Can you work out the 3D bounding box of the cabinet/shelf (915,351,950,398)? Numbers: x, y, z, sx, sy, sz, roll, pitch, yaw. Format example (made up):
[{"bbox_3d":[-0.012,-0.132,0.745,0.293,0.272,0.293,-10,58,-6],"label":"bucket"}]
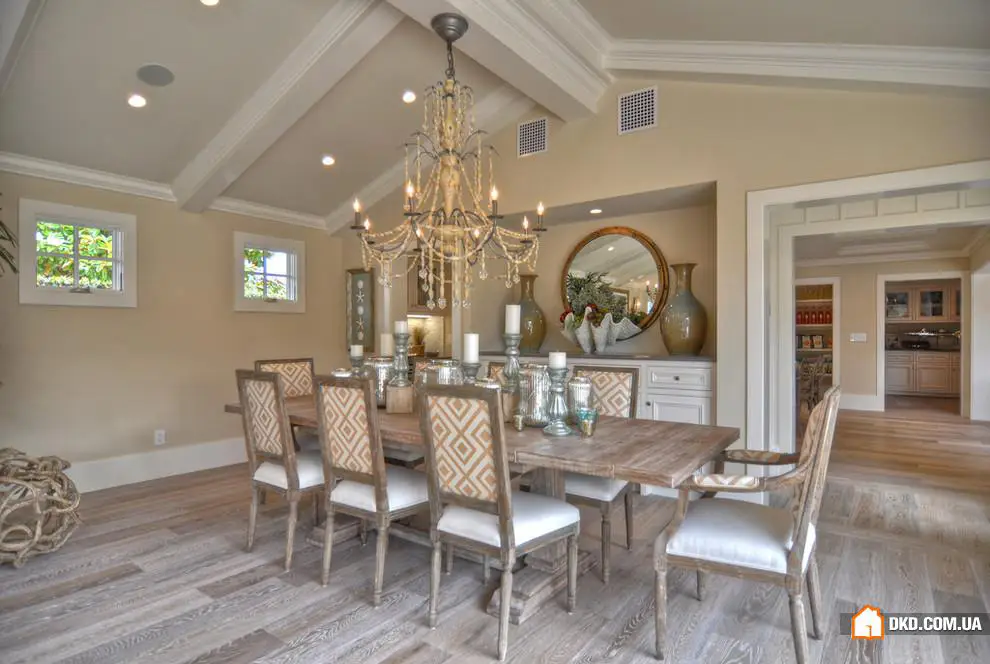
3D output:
[{"bbox_3d":[7.965,0.728,10.894,0.563,0.815,0.585,-7,4,-33],"label":"cabinet/shelf"}]

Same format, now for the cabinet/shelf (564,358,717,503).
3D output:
[{"bbox_3d":[1.569,0.864,5.735,0.492,1.248,1.341,-6,3,-43],"label":"cabinet/shelf"}]

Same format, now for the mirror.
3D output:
[{"bbox_3d":[1.260,-0.494,6.175,1.247,1.238,0.050,2,-3,30],"label":"mirror"}]

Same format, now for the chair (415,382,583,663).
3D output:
[{"bbox_3d":[0.036,1.040,3.608,0.934,1.490,0.488,-2,14,-8],"label":"chair"}]

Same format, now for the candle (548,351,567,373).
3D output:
[{"bbox_3d":[0.418,0.204,4.010,0.130,0.144,0.128,1,2,-2],"label":"candle"}]

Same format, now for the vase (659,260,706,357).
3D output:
[{"bbox_3d":[1.711,-0.211,5.565,0.339,0.822,0.403,-7,15,-23],"label":"vase"}]

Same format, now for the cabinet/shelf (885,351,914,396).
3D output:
[{"bbox_3d":[7.509,0.818,11.195,0.589,0.779,0.628,5,-12,27],"label":"cabinet/shelf"}]

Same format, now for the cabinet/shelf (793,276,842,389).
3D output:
[{"bbox_3d":[5.275,-0.105,9.880,0.785,1.687,1.311,6,15,25],"label":"cabinet/shelf"}]

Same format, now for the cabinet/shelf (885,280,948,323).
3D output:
[{"bbox_3d":[7.590,-0.574,10.820,0.740,0.607,0.269,-2,-3,37],"label":"cabinet/shelf"}]

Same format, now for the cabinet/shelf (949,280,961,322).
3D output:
[{"bbox_3d":[8.049,-0.546,10.619,0.167,0.705,0.189,2,14,10],"label":"cabinet/shelf"}]

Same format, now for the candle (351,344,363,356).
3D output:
[{"bbox_3d":[-1.108,0.149,4.828,0.149,0.108,0.146,0,0,-10],"label":"candle"}]

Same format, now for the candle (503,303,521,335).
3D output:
[{"bbox_3d":[0.114,-0.078,4.064,0.078,0.183,0.109,-2,14,-7],"label":"candle"}]

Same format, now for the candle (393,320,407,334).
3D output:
[{"bbox_3d":[-0.728,-0.033,4.693,0.122,0.086,0.118,0,2,-31],"label":"candle"}]

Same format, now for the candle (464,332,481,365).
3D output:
[{"bbox_3d":[-0.173,0.112,4.035,0.091,0.193,0.100,-1,14,-4],"label":"candle"}]

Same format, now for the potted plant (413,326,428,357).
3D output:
[{"bbox_3d":[-1.106,0.139,8.766,0.199,0.358,0.559,-2,13,-5],"label":"potted plant"}]

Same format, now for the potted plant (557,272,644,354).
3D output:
[{"bbox_3d":[1.002,-0.085,6.297,0.784,0.633,0.707,-5,4,40],"label":"potted plant"}]
